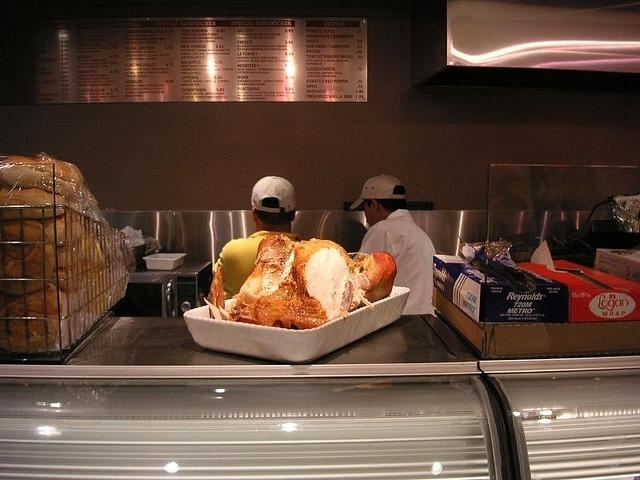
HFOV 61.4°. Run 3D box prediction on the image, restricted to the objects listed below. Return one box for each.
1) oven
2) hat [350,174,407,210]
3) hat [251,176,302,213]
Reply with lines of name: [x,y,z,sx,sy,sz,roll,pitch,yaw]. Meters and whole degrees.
oven: [-0.865,0.260,3.033,0.433,0.345,0.452,0,4,1]
hat: [0.309,-0.272,2.994,0.292,0.182,0.219,0,7,30]
hat: [-0.221,-0.228,2.590,0.210,0.180,0.338,1,10,-7]
